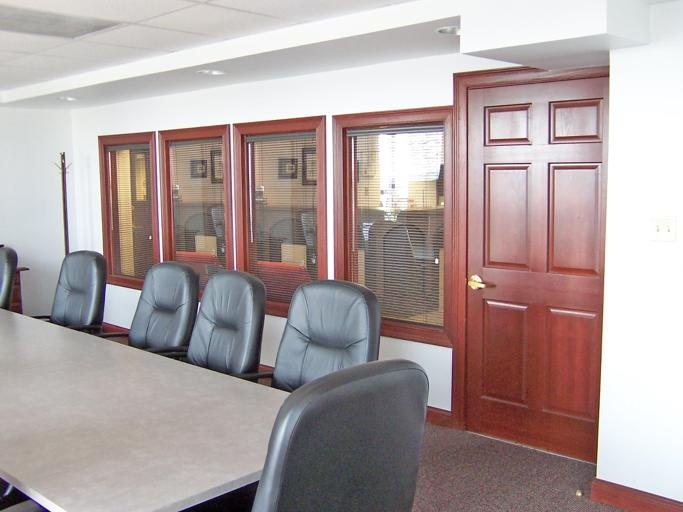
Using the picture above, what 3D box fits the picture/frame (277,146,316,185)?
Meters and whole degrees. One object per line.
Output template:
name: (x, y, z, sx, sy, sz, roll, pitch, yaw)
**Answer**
picture/frame: (-0.437, -0.867, 4.820, 0.508, 0.362, 0.048, 5, 13, 39)
